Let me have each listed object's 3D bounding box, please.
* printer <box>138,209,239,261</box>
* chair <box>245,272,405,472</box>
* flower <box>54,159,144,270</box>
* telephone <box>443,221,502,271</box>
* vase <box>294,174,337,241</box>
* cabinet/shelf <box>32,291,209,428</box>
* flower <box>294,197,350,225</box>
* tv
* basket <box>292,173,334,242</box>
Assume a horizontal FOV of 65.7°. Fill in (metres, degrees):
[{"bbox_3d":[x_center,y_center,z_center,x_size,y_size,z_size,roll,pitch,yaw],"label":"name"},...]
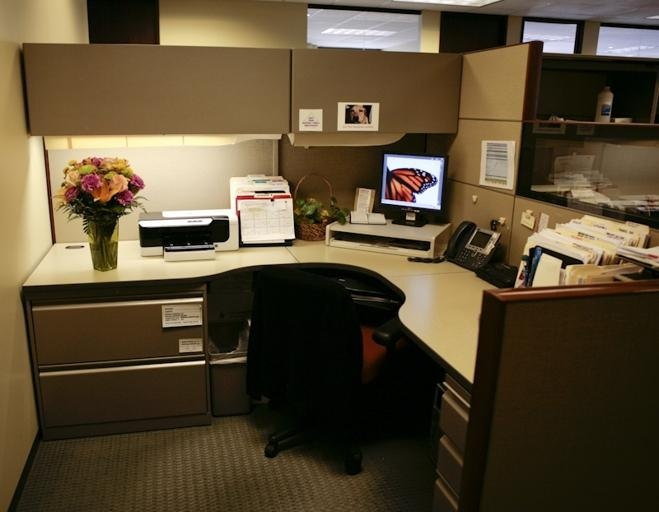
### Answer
[{"bbox_3d":[-0.815,-0.135,2.947,0.544,0.220,0.412,-2,21,-16],"label":"printer"},{"bbox_3d":[-0.047,0.443,2.565,0.572,1.025,0.691,7,15,22],"label":"chair"},{"bbox_3d":[-1.147,-0.213,2.594,0.400,0.555,0.221,-8,19,-20],"label":"flower"},{"bbox_3d":[0.866,-0.080,2.939,0.259,0.253,0.302,-3,15,-35],"label":"telephone"},{"bbox_3d":[-0.121,-0.334,3.360,0.225,0.454,0.233,5,-3,-24],"label":"vase"},{"bbox_3d":[-1.092,0.502,2.843,0.818,0.793,0.592,-2,8,-13],"label":"cabinet/shelf"},{"bbox_3d":[-0.057,-0.281,3.253,0.352,0.150,0.127,5,19,16],"label":"flower"},{"bbox_3d":[0.544,-0.436,3.334,0.415,0.474,0.356,3,19,12],"label":"tv"},{"bbox_3d":[-0.124,-0.295,3.334,0.209,0.456,0.259,4,13,-11],"label":"basket"}]
